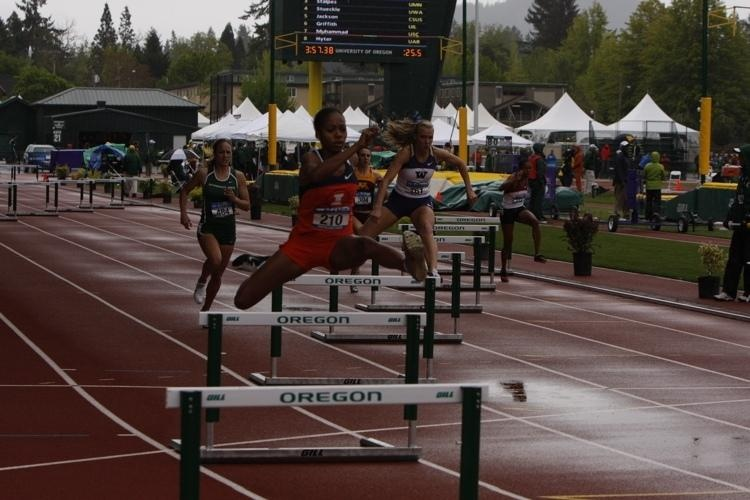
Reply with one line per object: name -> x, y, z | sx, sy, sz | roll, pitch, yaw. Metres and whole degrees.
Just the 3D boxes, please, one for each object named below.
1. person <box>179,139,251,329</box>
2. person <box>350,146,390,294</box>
person -> -2.480, -0.279, 14.373 | 1.087, 2.884, 1.279 | 1, -2, -7
person -> -0.060, -0.628, 16.918 | 0.796, 2.283, 0.869 | 0, -1, 0
